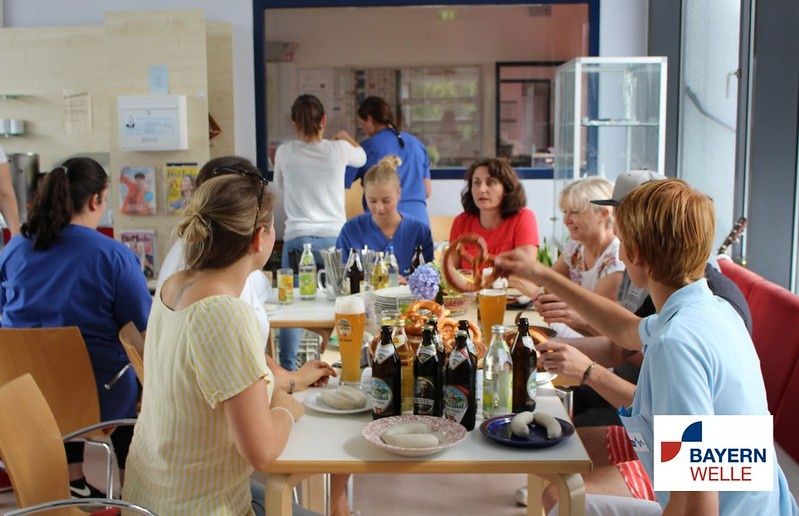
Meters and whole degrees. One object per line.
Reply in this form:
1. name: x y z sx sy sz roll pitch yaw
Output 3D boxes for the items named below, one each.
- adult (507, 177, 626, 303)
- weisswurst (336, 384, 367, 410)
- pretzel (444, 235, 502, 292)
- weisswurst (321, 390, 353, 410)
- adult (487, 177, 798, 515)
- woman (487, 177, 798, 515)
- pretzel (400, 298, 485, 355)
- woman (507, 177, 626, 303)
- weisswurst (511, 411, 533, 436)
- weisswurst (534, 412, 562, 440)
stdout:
1. adult: 0.854 -0.145 4.648 0.716 0.817 0.570 1 3 -2
2. weisswurst: -0.187 0.582 3.297 0.064 0.058 0.137 -3 5 -22
3. pretzel: 0.400 0.028 3.986 0.280 0.272 0.077 5 3 40
4. weisswurst: -0.265 0.589 3.304 0.064 0.039 0.132 -28 31 -32
5. adult: 1.067 0.366 3.182 0.599 1.365 0.923 -5 8 -22
6. woman: 1.068 0.367 3.180 0.599 1.365 0.918 -5 8 -22
7. pretzel: 0.189 0.297 3.623 0.258 0.069 0.260 20 26 14
8. woman: 0.853 -0.152 4.645 0.716 0.817 0.570 1 3 -2
9. weisswurst: 0.493 0.650 3.115 0.063 0.040 0.131 6 7 16
10. weisswurst: 0.593 0.656 3.122 0.074 0.047 0.150 -3 8 -2
